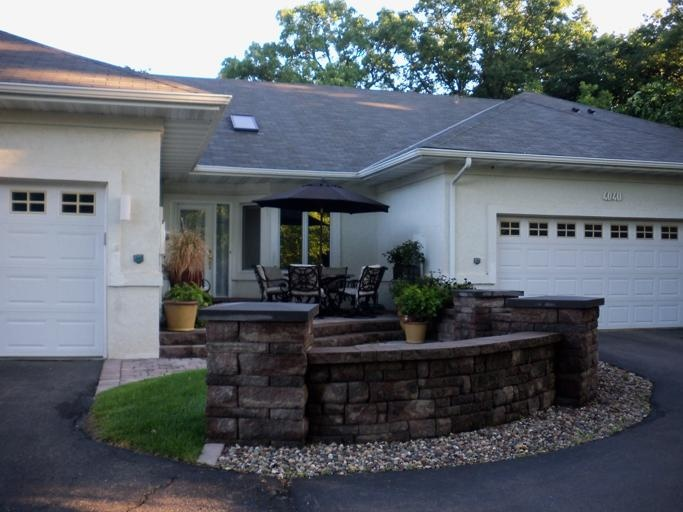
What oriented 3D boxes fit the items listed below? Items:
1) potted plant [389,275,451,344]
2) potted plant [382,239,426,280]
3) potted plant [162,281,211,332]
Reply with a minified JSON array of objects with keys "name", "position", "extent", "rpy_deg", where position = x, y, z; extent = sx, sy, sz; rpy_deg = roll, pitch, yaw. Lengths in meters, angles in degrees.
[{"name":"potted plant","position":[1.223,1.042,10.713],"extent":[0.784,0.920,0.862],"rpy_deg":[-1,-7,5]},{"name":"potted plant","position":[1.405,0.120,13.081],"extent":[0.690,0.989,0.934],"rpy_deg":[-4,-5,42]},{"name":"potted plant","position":[-2.628,0.878,10.637],"extent":[0.722,0.750,0.709],"rpy_deg":[0,7,-11]}]
